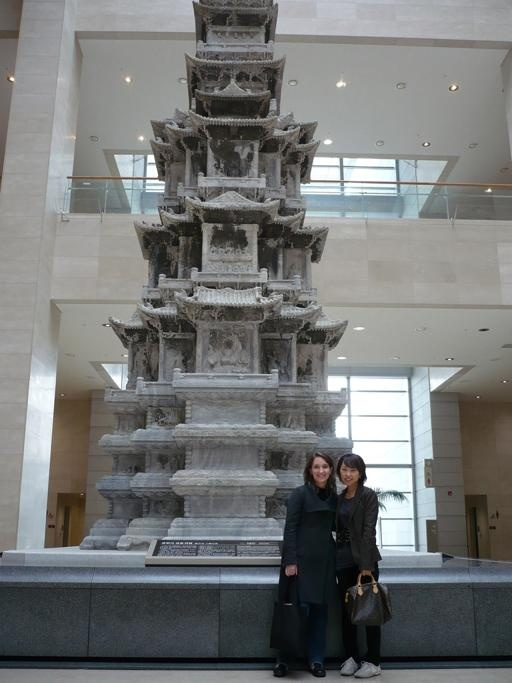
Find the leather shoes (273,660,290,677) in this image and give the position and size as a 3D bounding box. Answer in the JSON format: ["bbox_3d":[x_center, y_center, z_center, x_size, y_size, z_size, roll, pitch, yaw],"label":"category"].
[{"bbox_3d":[0.151,1.998,3.965,0.095,0.078,0.130,-1,-11,1],"label":"leather shoes"}]

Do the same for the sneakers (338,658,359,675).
[{"bbox_3d":[0.574,1.999,3.980,0.077,0.086,0.210,-1,-27,11],"label":"sneakers"}]

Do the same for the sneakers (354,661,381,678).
[{"bbox_3d":[0.673,1.990,3.925,0.102,0.080,0.197,-8,-14,33],"label":"sneakers"}]

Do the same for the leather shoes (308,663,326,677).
[{"bbox_3d":[0.377,1.986,3.923,0.088,0.069,0.117,0,-11,-1],"label":"leather shoes"}]

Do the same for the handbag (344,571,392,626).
[{"bbox_3d":[0.660,1.551,3.846,0.250,0.223,0.176,-2,-12,10],"label":"handbag"}]

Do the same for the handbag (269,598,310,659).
[{"bbox_3d":[0.196,1.741,3.939,0.215,0.302,0.086,-6,-14,25],"label":"handbag"}]
